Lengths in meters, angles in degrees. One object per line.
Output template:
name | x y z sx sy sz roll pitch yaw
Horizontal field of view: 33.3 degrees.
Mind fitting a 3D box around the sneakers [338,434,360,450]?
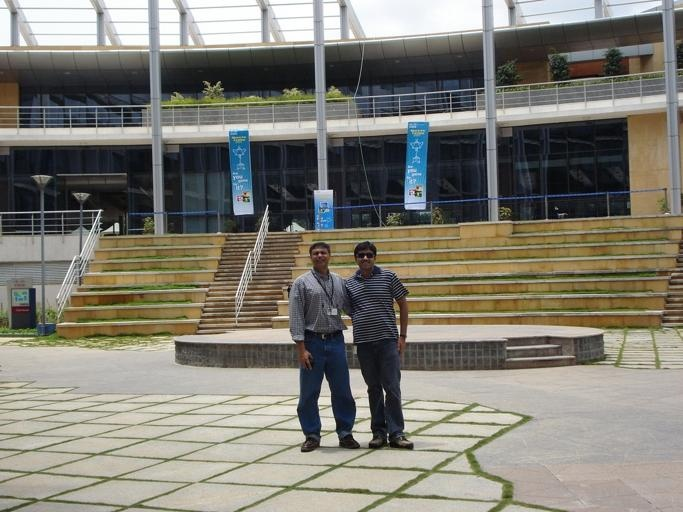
sneakers | 0.153 3.524 21.736 0.211 0.159 0.432 5 -11 -36

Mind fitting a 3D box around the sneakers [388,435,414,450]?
sneakers | 1.134 3.521 21.697 0.560 0.181 0.193 -4 -1 27

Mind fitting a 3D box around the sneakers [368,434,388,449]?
sneakers | 0.692 3.501 21.767 0.358 0.248 0.174 -1 1 1
